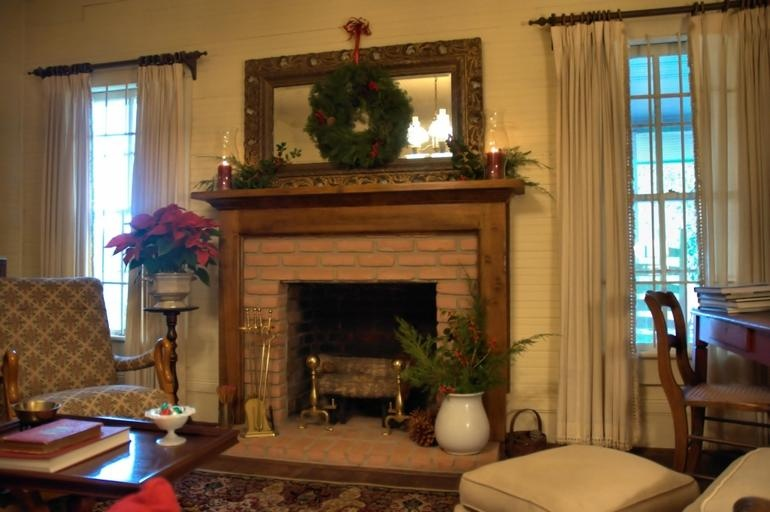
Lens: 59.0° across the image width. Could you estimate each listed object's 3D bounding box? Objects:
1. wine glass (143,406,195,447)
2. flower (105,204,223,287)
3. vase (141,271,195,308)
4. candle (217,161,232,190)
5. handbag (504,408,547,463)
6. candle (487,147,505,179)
[{"bbox_3d":[-1.177,0.956,3.769,0.252,0.174,0.252,-3,-2,2],"label":"wine glass"},{"bbox_3d":[-1.677,-0.091,5.210,0.712,0.465,0.681,1,1,27],"label":"flower"},{"bbox_3d":[-1.611,0.266,5.207,0.288,0.207,0.286,0,-4,8],"label":"vase"},{"bbox_3d":[-1.246,-0.628,5.326,0.114,0.248,0.251,-2,1,-13],"label":"candle"},{"bbox_3d":[1.024,1.289,4.949,0.314,0.344,0.325,-1,0,-31],"label":"handbag"},{"bbox_3d":[0.798,-0.667,4.899,0.135,0.222,0.075,-2,2,0],"label":"candle"}]
